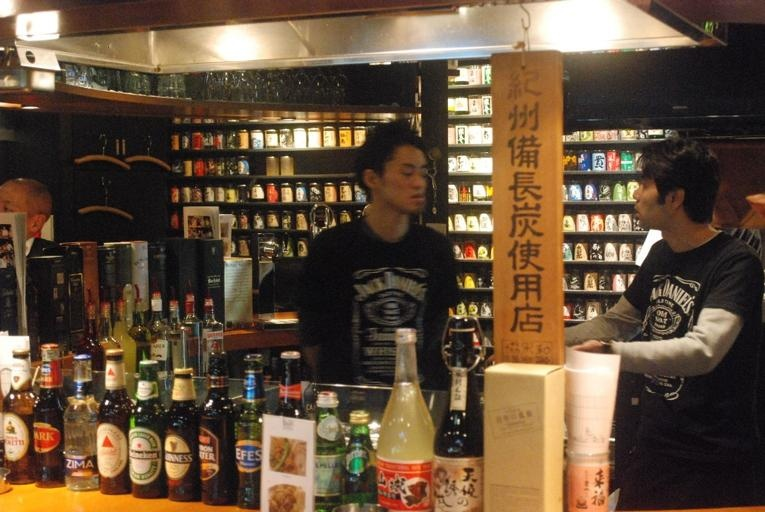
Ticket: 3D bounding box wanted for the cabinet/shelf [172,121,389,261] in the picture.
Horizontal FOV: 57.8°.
[{"bbox_3d":[-0.845,-0.587,5.901,1.550,0.825,0.359,0,-4,14],"label":"cabinet/shelf"}]
